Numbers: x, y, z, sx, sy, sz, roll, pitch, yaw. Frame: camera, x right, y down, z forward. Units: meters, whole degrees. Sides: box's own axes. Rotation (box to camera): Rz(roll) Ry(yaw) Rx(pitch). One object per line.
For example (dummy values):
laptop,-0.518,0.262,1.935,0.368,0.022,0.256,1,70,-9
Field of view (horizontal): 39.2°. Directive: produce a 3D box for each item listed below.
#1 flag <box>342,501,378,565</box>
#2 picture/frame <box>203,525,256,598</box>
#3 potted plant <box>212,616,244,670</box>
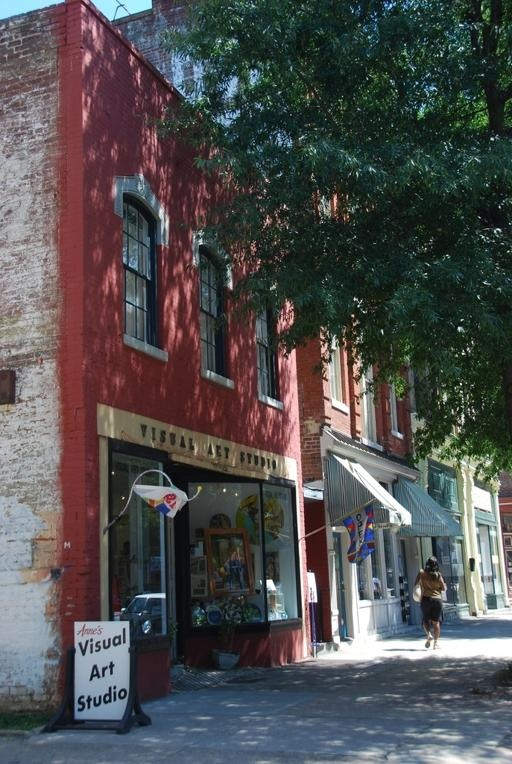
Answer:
flag,1.682,2.429,11.589,0.457,0.882,1.186,-5,-15,7
picture/frame,-0.458,2.871,11.359,0.077,1.280,0.971,-23,-23,38
potted plant,-0.455,4.105,11.254,0.625,1.074,0.659,1,-19,0
